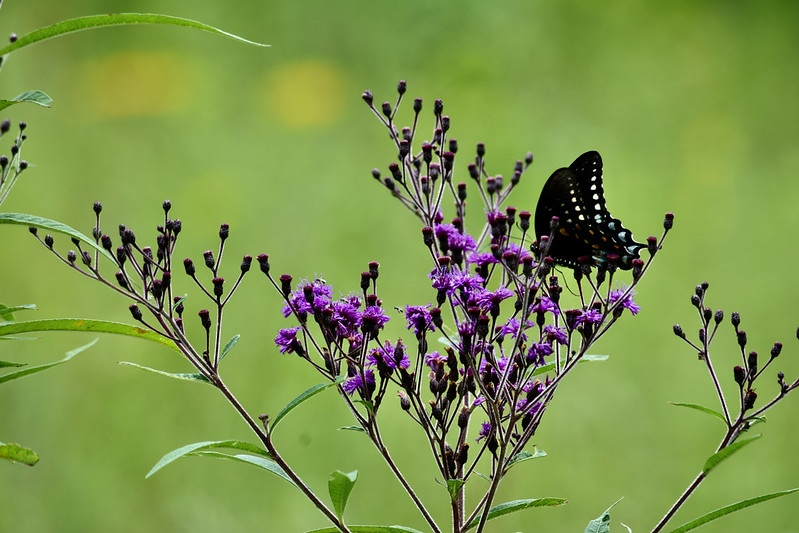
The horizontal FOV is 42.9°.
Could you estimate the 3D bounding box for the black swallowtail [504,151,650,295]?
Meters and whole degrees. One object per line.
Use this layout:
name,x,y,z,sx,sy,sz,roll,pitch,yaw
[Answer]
black swallowtail,0.643,-0.135,3.606,0.372,0.318,0.398,5,-16,11

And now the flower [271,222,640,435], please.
flower,0.231,0.136,3.588,1.212,0.882,0.656,5,-56,8
